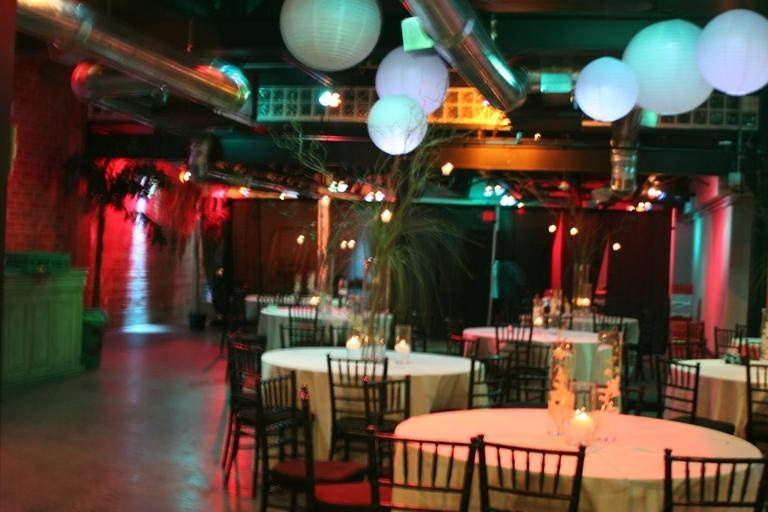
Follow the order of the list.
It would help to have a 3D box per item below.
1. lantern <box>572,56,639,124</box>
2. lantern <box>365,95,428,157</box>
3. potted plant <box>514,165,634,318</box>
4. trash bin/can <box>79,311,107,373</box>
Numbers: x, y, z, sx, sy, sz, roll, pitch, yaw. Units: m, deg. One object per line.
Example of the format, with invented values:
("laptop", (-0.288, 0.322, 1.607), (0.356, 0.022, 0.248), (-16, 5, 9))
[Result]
("lantern", (1.981, -1.437, 6.322), (0.549, 0.639, 0.557), (-1, 1, 28))
("lantern", (0.171, -1.097, 6.211), (0.493, 0.573, 0.499), (1, -1, 20))
("potted plant", (3.845, -0.284, 13.910), (1.520, 1.621, 2.785), (6, -5, 8))
("trash bin/can", (-4.261, 1.210, 10.224), (0.345, 0.871, 0.200), (5, -5, -31))
